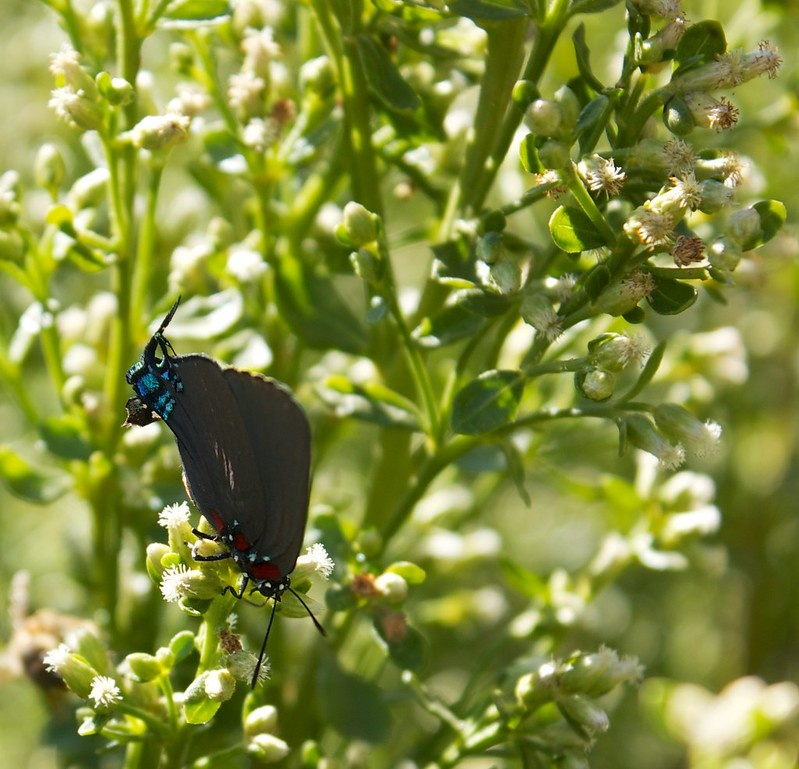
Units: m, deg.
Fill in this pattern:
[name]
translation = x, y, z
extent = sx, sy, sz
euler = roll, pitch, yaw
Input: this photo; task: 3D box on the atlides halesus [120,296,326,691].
[atlides halesus]
translation = -0.150, 0.068, 1.163
extent = 0.085, 0.181, 0.197
euler = -32, 49, -32
